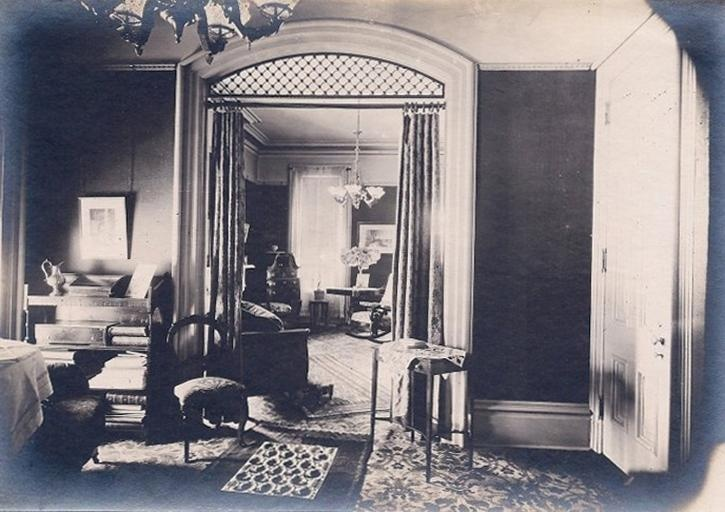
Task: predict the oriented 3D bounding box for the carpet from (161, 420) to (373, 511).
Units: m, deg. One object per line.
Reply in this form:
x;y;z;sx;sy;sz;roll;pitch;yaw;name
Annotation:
-0.690;1.810;7.135;1.442;0.590;0.926;3;1;4;carpet

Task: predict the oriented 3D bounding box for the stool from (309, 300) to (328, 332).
-0.654;0.864;12.179;0.373;0.391;0.353;1;-5;-13;stool

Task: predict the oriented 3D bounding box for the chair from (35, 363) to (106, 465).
-2.508;1.375;7.190;0.539;0.774;0.539;3;1;-19;chair

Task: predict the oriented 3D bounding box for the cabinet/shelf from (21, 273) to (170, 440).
-2.290;0.927;7.279;1.649;1.721;0.711;0;0;2;cabinet/shelf

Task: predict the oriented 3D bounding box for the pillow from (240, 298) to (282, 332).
-0.963;0.591;7.953;0.409;0.273;0.215;3;1;-6;pillow

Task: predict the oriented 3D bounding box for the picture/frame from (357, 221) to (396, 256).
0.209;-0.238;12.164;0.576;0.368;0.026;1;-5;7;picture/frame

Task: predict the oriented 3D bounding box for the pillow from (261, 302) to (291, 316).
-1.103;0.710;10.979;0.258;0.103;0.245;3;2;-13;pillow
